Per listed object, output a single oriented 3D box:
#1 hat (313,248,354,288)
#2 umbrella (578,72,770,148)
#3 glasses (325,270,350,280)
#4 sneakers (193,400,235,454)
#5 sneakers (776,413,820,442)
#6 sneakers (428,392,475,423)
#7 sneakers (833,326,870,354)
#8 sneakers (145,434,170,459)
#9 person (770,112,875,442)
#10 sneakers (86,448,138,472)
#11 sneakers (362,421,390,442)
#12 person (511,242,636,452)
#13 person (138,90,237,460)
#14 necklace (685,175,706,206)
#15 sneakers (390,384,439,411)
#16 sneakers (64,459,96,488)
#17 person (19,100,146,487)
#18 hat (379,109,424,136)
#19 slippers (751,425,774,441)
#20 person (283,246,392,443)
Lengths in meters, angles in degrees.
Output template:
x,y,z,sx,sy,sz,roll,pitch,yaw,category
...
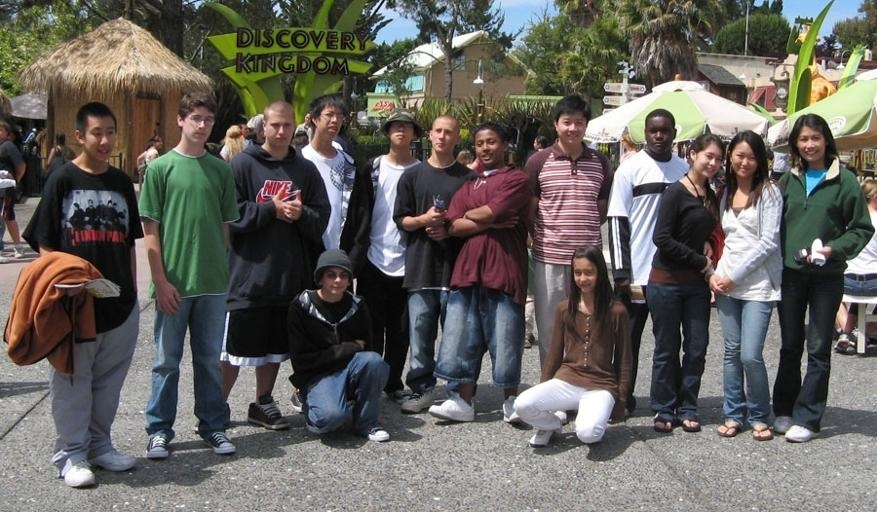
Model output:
x,y,z,sx,sy,sz,roll,pitch,yaw,category
-0.983,0.128,6.612,0.324,0.252,0.341,5,-26,-12,hat
4.278,-2.454,12.494,2.857,0.931,2.604,-1,5,6,umbrella
-0.929,0.161,6.480,0.211,0.091,0.054,-1,5,-9,glasses
-2.012,1.579,6.398,0.204,0.262,0.653,-3,5,-32,sneakers
3.286,1.588,6.484,0.368,0.163,0.260,3,6,27,sneakers
0.154,1.475,6.857,0.445,0.234,0.221,7,-8,-12,sneakers
5.084,1.040,8.699,0.630,0.260,0.212,-1,2,-42,sneakers
-2.421,1.628,6.090,0.189,0.190,0.188,-2,6,-21,sneakers
3.516,0.164,6.584,0.774,2.983,0.623,0,5,-7,person
-2.703,1.672,5.851,0.334,0.120,0.176,4,8,7,sneakers
-0.554,1.611,6.439,0.118,0.102,0.278,1,-9,-31,sneakers
1.274,0.818,6.359,0.897,1.766,0.603,2,5,14,person
-2.152,0.144,6.136,0.821,3.139,0.452,-1,5,-17,person
2.423,-0.621,6.679,0.194,0.215,0.152,21,43,25,necklace
-0.190,1.447,7.217,0.197,0.196,0.492,8,0,34,sneakers
-2.849,1.728,5.608,0.131,0.124,0.337,6,-10,-41,sneakers
-2.838,0.278,5.762,0.856,3.073,0.584,-3,6,-29,person
-0.370,-1.388,7.226,0.334,0.137,0.305,1,-29,-2,hat
3.003,1.604,6.481,0.232,0.125,0.121,-1,5,-10,slippers
-0.915,0.803,6.529,0.931,1.709,0.562,0,5,-1,person
